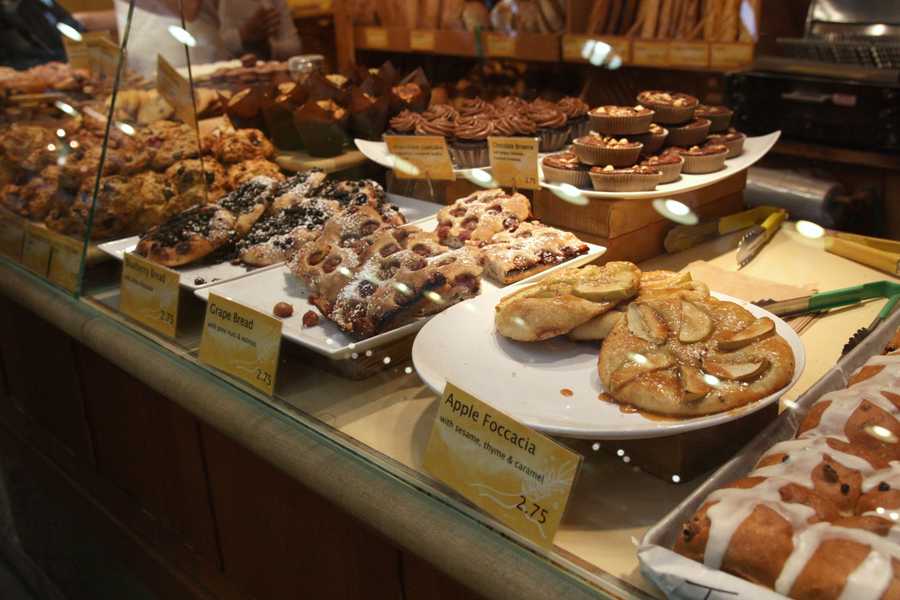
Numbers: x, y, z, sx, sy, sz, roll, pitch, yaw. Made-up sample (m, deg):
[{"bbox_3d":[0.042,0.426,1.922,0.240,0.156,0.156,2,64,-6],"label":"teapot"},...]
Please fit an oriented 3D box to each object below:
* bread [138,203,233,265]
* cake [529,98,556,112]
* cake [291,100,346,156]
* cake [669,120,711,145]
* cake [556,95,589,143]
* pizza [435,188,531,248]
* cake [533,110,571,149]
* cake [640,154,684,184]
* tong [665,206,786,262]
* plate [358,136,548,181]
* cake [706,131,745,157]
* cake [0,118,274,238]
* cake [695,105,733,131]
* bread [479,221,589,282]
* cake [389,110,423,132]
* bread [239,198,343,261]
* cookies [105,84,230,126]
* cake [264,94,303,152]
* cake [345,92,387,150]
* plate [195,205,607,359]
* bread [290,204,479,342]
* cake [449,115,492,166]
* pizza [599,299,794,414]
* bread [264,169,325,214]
[{"bbox_3d":[-0.705,-0.179,1.771,0.201,0.062,0.164,-26,37,-23],"label":"bread"},{"bbox_3d":[0.257,-0.548,1.834,0.052,0.023,0.053,0,14,3],"label":"cake"},{"bbox_3d":[-0.440,-0.622,2.276,0.233,0.212,0.225,0,20,-8],"label":"cake"},{"bbox_3d":[0.612,-0.426,1.647,0.081,0.028,0.080,-30,34,-22],"label":"cake"},{"bbox_3d":[0.366,-0.526,1.884,0.090,0.100,0.089,-23,18,-22],"label":"cake"},{"bbox_3d":[0.094,-0.236,1.783,0.259,0.059,0.271,-7,36,19],"label":"pizza"},{"bbox_3d":[0.296,-0.498,1.869,0.115,0.085,0.110,0,21,5],"label":"cake"},{"bbox_3d":[0.524,-0.331,1.598,0.088,0.029,0.080,-5,27,1],"label":"cake"},{"bbox_3d":[0.653,-0.176,1.516,0.211,0.050,0.114,-24,31,-31],"label":"tong"},{"bbox_3d":[0.025,-0.413,1.875,0.258,0.041,0.184,19,36,29],"label":"plate"},{"bbox_3d":[0.709,-0.410,1.669,0.078,0.026,0.077,-30,39,-31],"label":"cake"},{"bbox_3d":[-0.994,-0.372,1.950,0.584,0.157,0.546,1,26,2],"label":"cake"},{"bbox_3d":[0.686,-0.489,1.684,0.082,0.027,0.079,-20,36,-28],"label":"cake"},{"bbox_3d":[0.182,-0.153,1.591,0.184,0.044,0.178,-25,33,-25],"label":"bread"},{"bbox_3d":[-0.143,-0.576,2.074,0.094,0.042,0.102,-16,29,-5],"label":"cake"},{"bbox_3d":[-0.461,-0.194,1.806,0.257,0.073,0.184,-34,31,-6],"label":"bread"},{"bbox_3d":[-0.800,-0.567,1.857,0.315,0.075,0.225,7,24,-3],"label":"cookies"},{"bbox_3d":[-0.594,-0.643,2.318,0.147,0.152,0.147,22,42,15],"label":"cake"},{"bbox_3d":[-0.335,-0.652,2.308,0.165,0.160,0.163,9,29,28],"label":"cake"},{"bbox_3d":[-0.181,-0.149,1.592,0.642,0.083,0.423,-22,35,-32],"label":"plate"},{"bbox_3d":[-0.198,-0.075,1.544,0.317,0.092,0.355,-32,41,-28],"label":"bread"},{"bbox_3d":[0.042,-0.486,1.956,0.154,0.155,0.153,-3,19,-3],"label":"cake"},{"bbox_3d":[0.434,0.081,1.181,0.340,0.077,0.327,-7,31,1],"label":"pizza"},{"bbox_3d":[-0.465,-0.343,1.974,0.162,0.051,0.116,-29,19,9],"label":"bread"}]
